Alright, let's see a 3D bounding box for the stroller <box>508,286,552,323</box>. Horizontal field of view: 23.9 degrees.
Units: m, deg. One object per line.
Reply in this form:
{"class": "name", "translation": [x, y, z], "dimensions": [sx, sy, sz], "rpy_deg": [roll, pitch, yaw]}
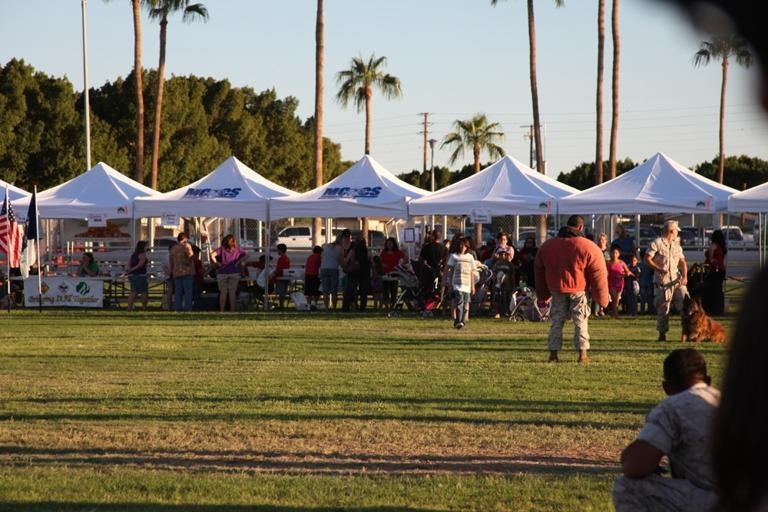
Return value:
{"class": "stroller", "translation": [4.581, 1.590, 56.650], "dimensions": [1.199, 1.279, 0.879], "rpy_deg": [-1, 1, -8]}
